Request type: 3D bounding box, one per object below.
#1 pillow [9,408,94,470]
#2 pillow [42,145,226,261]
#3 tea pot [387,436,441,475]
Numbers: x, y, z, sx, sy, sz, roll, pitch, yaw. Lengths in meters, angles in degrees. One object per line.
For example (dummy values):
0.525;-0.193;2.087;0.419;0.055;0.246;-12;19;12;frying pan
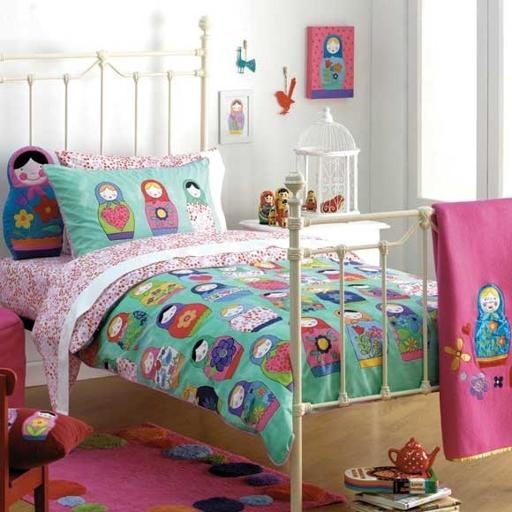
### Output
-0.403;0.334;1.097;0.134;0.049;0.123;1;6;6;pillow
-0.541;-0.216;2.434;0.626;0.373;0.162;-5;-19;-30;pillow
0.386;0.489;1.372;0.114;0.087;0.075;0;0;13;tea pot
